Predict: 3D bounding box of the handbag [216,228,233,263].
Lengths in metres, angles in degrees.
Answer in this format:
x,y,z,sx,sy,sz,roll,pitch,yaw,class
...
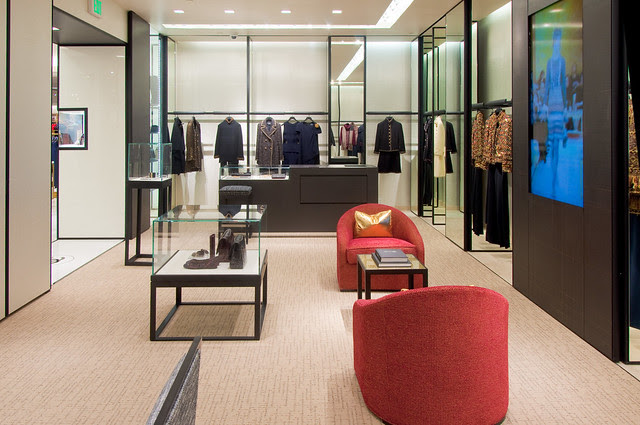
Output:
x,y,z,sx,sy,sz,roll,pitch,yaw,class
-0.867,0.292,4.395,0.124,0.215,0.291,1,8,-2,handbag

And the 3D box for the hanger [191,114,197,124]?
x,y,z,sx,sy,sz,roll,pitch,yaw,class
-2.477,-1.826,9.529,0.143,0.160,0.150,4,16,14,hanger

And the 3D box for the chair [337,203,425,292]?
x,y,z,sx,sy,sz,roll,pitch,yaw,class
0.696,0.424,5.907,0.925,1.064,0.949,0,-4,0,chair

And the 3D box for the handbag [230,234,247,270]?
x,y,z,sx,sy,sz,roll,pitch,yaw,class
-0.751,0.361,4.408,0.115,0.309,0.310,1,1,1,handbag

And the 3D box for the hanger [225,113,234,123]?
x,y,z,sx,sy,sz,roll,pitch,yaw,class
-1.796,-1.840,9.618,0.159,0.145,0.226,-2,15,-10,hanger

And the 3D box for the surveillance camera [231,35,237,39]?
x,y,z,sx,sy,sz,roll,pitch,yaw,class
-1.677,-3.391,9.407,0.120,0.064,0.228,-3,15,-11,surveillance camera

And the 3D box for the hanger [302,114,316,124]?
x,y,z,sx,sy,sz,roll,pitch,yaw,class
-0.211,-1.822,9.593,0.268,0.151,0.330,2,15,7,hanger

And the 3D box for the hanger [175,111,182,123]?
x,y,z,sx,sy,sz,roll,pitch,yaw,class
-2.827,-1.882,9.628,0.124,0.208,0.296,-4,15,-16,hanger

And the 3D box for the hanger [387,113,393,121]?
x,y,z,sx,sy,sz,roll,pitch,yaw,class
1.416,-1.904,9.788,0.126,0.134,0.262,2,15,7,hanger

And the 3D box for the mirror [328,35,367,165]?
x,y,z,sx,sy,sz,roll,pitch,yaw,class
0.522,-2.168,9.415,0.708,2.398,0.485,0,13,1,mirror

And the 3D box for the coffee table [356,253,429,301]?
x,y,z,sx,sy,sz,roll,pitch,yaw,class
0.654,0.556,4.808,0.507,0.469,0.620,0,5,-6,coffee table
